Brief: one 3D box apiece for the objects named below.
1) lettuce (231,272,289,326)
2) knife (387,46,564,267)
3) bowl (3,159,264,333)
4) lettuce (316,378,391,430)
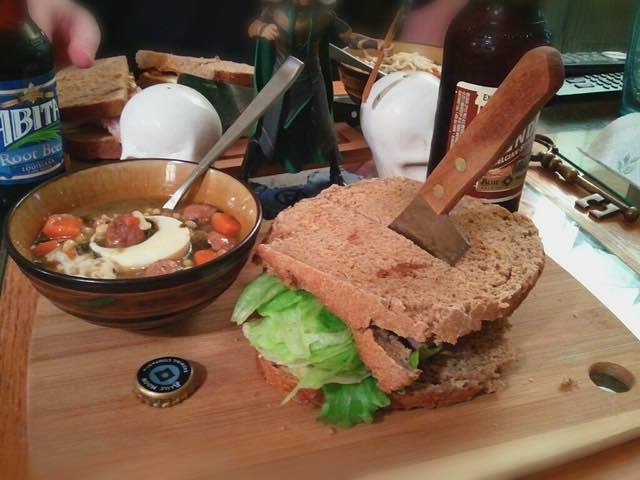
[{"bbox_3d":[-0.197,0.177,1.732,0.222,0.051,0.117,-26,70,-9],"label":"lettuce"},{"bbox_3d":[0.432,-0.190,1.510,0.303,0.681,0.204,-9,53,-12],"label":"knife"},{"bbox_3d":[-0.518,0.090,1.828,0.849,0.290,0.708,-6,31,-15],"label":"bowl"},{"bbox_3d":[0.087,0.477,1.579,0.210,0.075,0.133,-7,47,-12],"label":"lettuce"}]
